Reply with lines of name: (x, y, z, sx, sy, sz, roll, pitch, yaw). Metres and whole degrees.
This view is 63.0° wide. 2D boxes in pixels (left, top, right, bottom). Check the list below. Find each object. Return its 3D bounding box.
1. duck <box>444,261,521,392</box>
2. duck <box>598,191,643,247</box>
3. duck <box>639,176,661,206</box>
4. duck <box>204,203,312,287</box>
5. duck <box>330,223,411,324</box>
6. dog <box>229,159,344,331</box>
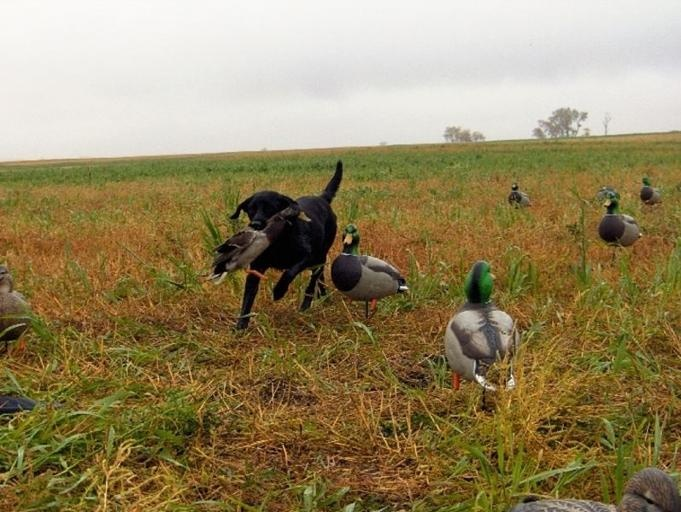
duck: (1.113, 0.609, 4.583, 0.514, 0.850, 1.157, 1, 47, 9)
duck: (3.939, -0.488, 7.947, 0.432, 0.841, 0.714, 7, 17, 39)
duck: (7.126, -1.504, 12.862, 0.361, 0.687, 1.524, 3, 15, 29)
duck: (-0.889, -0.134, 5.576, 1.049, 0.712, 0.392, -5, -2, 26)
duck: (0.331, 0.141, 6.264, 0.612, 0.920, 1.125, 14, 9, 44)
dog: (-0.555, -0.339, 6.670, 0.723, 1.584, 2.280, 17, 17, 18)
